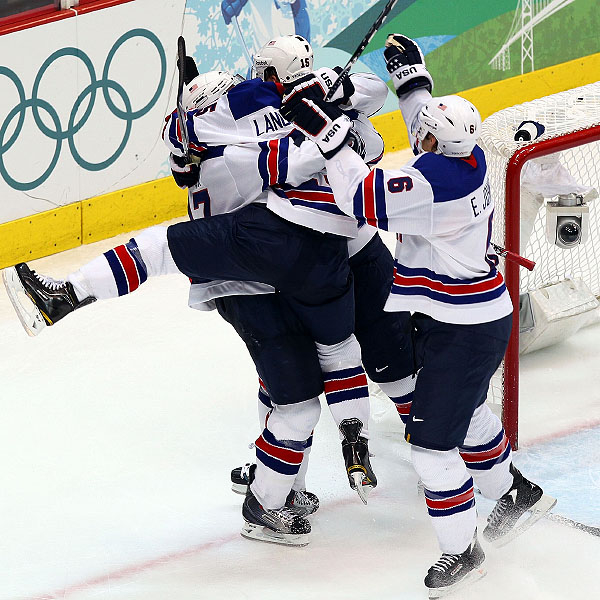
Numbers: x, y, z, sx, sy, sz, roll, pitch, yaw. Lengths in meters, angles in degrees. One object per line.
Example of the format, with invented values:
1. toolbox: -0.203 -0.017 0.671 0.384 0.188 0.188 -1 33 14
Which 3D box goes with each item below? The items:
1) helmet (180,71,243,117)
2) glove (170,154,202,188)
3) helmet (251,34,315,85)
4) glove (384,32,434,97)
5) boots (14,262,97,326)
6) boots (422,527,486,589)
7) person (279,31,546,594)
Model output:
1. helmet: -0.257 -0.581 2.185 0.163 0.080 0.109 -28 17 21
2. glove: -0.331 -0.376 2.188 0.080 0.094 0.039 4 44 8
3. helmet: -0.050 -0.698 2.259 0.139 0.145 0.168 -23 46 -35
4. glove: 0.360 -0.738 2.451 0.142 0.208 0.096 -21 -8 6
5. boots: -0.675 -0.024 2.127 0.183 0.184 0.100 -16 18 -11
6. boots: 0.435 0.731 2.222 0.253 0.104 0.085 -26 36 -34
7. person: 0.405 0.102 2.216 0.417 1.479 0.744 -3 21 30
